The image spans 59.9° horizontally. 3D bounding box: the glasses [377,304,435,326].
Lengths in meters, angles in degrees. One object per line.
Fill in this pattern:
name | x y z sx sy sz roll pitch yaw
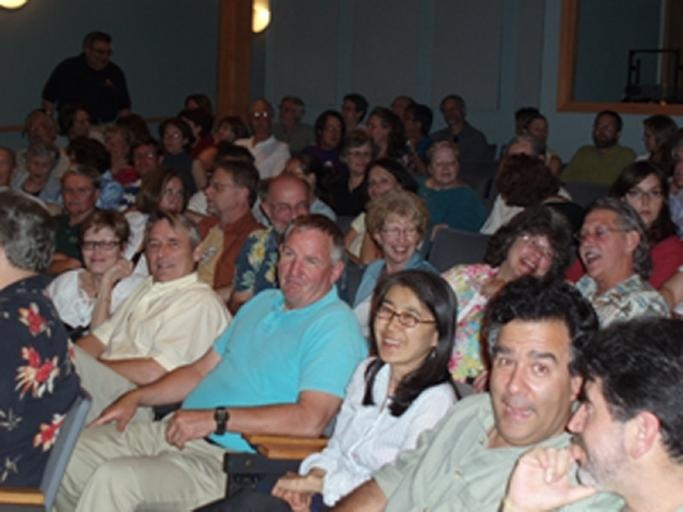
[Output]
glasses | 0.235 0.234 2.278 0.227 0.071 0.067 1 5 20
